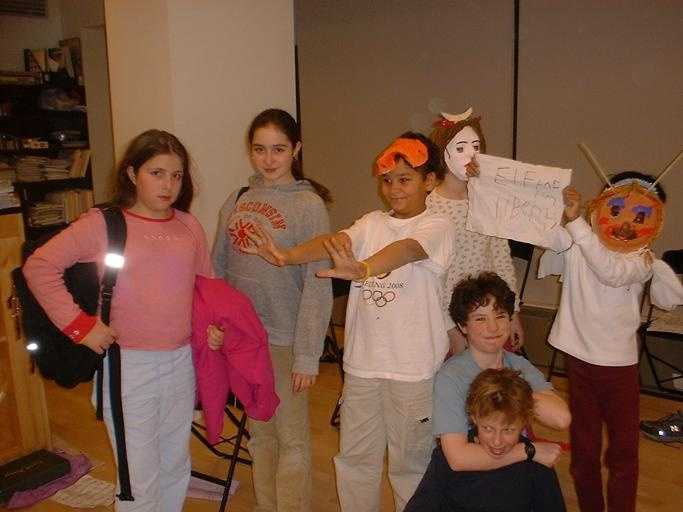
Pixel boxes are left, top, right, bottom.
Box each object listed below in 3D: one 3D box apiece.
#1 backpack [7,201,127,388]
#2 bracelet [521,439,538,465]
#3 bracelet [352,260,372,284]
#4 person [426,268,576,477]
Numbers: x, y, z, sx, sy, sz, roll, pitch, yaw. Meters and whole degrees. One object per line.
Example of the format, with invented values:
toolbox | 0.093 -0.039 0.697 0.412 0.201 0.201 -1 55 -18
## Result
backpack | -1.160 0.189 2.443 0.485 0.788 0.148 0 7 1
bracelet | 0.804 0.828 2.416 0.066 0.067 0.064 -5 -23 -1
bracelet | 0.089 0.059 2.261 0.019 0.082 0.083 3 -27 -19
person | 0.691 0.608 2.567 0.645 0.948 0.657 -6 12 -16
